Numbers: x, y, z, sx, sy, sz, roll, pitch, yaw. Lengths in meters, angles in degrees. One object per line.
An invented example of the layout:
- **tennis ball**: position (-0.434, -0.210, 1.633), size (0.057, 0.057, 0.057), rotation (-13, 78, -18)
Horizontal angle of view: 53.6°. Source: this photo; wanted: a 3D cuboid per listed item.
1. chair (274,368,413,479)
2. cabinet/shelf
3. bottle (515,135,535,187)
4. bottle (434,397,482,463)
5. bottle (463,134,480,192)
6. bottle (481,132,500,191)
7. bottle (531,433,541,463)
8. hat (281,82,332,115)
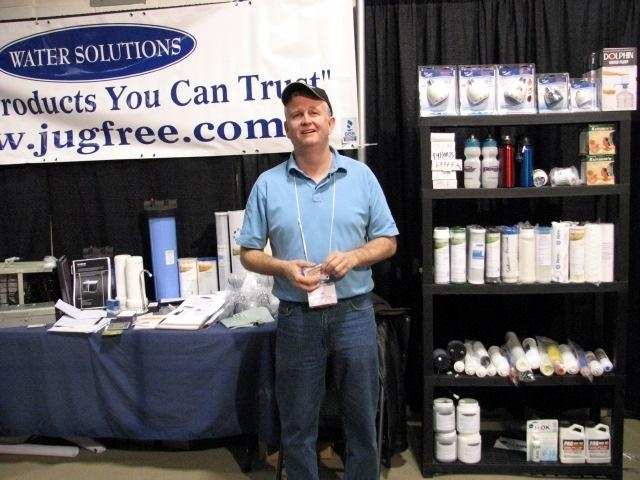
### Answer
- **chair**: position (0.094, 1.061, 3.981), size (0.707, 0.898, 0.724), rotation (0, -4, 1)
- **cabinet/shelf**: position (1.283, 0.327, 3.994), size (1.407, 2.208, 0.650), rotation (-4, 4, 7)
- **bottle**: position (1.205, -0.455, 3.739), size (0.098, 0.295, 0.075), rotation (-3, 4, 17)
- **bottle**: position (0.843, 1.159, 3.880), size (0.316, 0.380, 0.154), rotation (-4, 4, -1)
- **bottle**: position (0.912, -0.462, 3.801), size (0.107, 0.315, 0.202), rotation (-3, 4, 15)
- **bottle**: position (1.017, -0.462, 3.807), size (0.115, 0.313, 0.211), rotation (-3, 4, 15)
- **bottle**: position (1.292, 1.251, 3.812), size (0.067, 0.162, 0.035), rotation (-3, 4, 18)
- **hat**: position (-0.073, -0.735, 3.293), size (0.248, 0.152, 0.143), rotation (-4, 4, -1)
